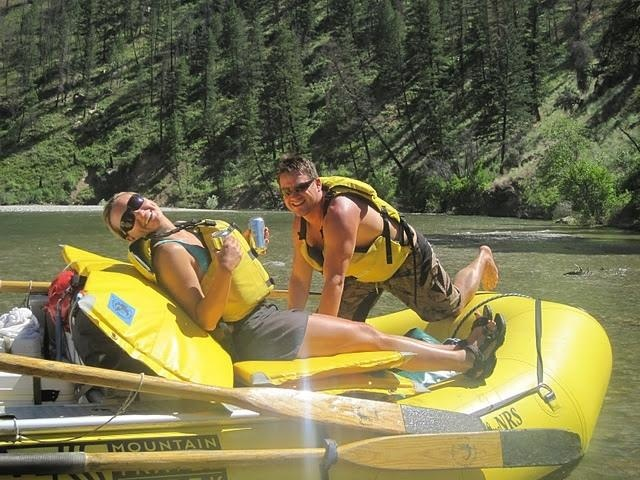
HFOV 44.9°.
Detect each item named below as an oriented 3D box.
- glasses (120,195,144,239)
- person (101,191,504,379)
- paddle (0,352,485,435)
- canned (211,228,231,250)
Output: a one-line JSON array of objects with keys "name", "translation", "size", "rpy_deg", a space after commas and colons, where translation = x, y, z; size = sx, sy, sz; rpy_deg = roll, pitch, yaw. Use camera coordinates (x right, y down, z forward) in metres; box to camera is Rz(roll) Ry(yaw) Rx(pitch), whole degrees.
[{"name": "glasses", "translation": [-1.442, -0.183, 5.922], "size": [0.169, 0.350, 0.164], "rpy_deg": [3, 8, -13]}, {"name": "person", "translation": [-0.145, 0.464, 6.233], "size": [3.270, 1.105, 1.280], "rpy_deg": [8, 2, -9]}, {"name": "paddle", "translation": [-0.686, 1.110, 5.567], "size": [3.190, 0.121, 0.322], "rpy_deg": [7, 21, -7]}, {"name": "canned", "translation": [-0.728, -0.016, 5.753], "size": [0.149, 0.137, 0.150], "rpy_deg": [-10, 9, -5]}]
